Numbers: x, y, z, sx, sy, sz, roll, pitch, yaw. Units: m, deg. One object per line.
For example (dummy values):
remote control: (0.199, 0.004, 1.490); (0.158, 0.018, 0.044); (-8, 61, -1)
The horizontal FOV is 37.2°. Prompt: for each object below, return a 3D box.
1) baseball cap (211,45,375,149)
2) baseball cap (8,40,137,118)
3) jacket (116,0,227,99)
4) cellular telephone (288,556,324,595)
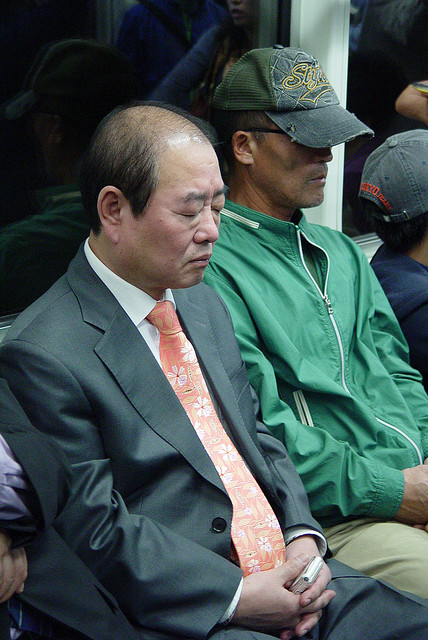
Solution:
baseball cap: (0.272, -0.754, 2.082); (0.536, 0.244, 0.352); (26, 39, 29)
baseball cap: (-0.480, -0.796, 2.125); (0.397, 0.185, 0.234); (-6, 17, -28)
jacket: (-0.175, -1.028, 2.390); (0.497, 0.369, 0.147); (-38, 55, -25)
cellular telephone: (0.202, 0.550, 1.375); (0.016, 0.049, 0.069); (44, 49, 10)
